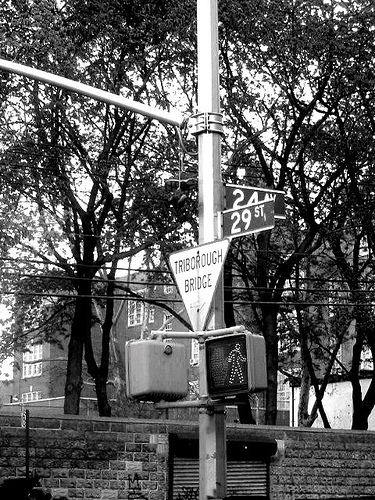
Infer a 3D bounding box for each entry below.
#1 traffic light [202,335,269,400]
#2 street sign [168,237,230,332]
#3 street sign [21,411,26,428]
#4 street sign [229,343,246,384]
[{"bbox_3d":[0.517,1.298,14.595,0.849,0.720,0.266,-10,-12,38],"label":"traffic light"},{"bbox_3d":[0.161,0.432,15.139,0.187,1.031,0.855,6,-12,-43],"label":"street sign"},{"bbox_3d":[-2.997,3.108,23.747,0.058,0.290,0.175,3,2,-12],"label":"street sign"},{"bbox_3d":[0.548,1.271,14.468,0.224,0.497,0.016,-4,-29,9],"label":"street sign"}]
